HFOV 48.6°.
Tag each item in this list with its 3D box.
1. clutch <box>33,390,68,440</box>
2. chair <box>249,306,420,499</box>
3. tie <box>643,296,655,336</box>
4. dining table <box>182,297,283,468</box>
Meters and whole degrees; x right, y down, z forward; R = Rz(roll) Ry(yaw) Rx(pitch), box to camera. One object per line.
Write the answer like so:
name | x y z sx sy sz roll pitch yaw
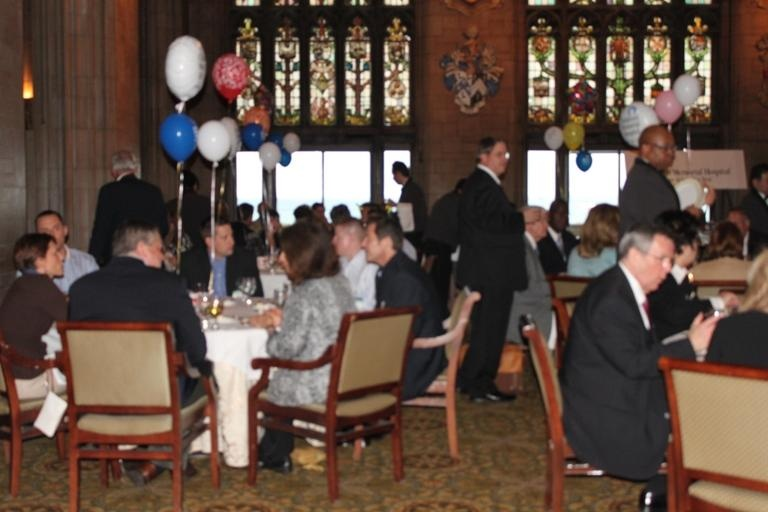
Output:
clutch | -2.455 1.174 6.305 0.237 0.346 0.076 25 2 16
chair | -0.264 0.969 6.998 1.318 1.855 1.250 3 3 42
tie | 1.880 0.426 5.984 0.055 0.242 0.234 -1 7 8
dining table | -0.956 1.006 7.021 0.977 1.395 0.909 1 7 10
